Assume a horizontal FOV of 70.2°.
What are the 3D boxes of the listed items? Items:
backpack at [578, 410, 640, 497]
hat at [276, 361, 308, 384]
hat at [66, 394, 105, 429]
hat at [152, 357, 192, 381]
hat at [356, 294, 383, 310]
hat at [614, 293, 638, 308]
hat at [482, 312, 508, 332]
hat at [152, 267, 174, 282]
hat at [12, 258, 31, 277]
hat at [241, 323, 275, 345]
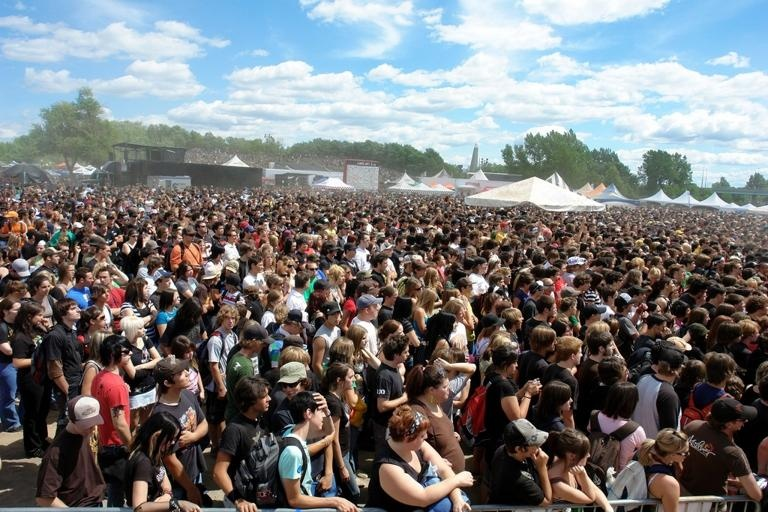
[{"bbox_3d":[2.586,2.297,6.285,0.515,0.916,0.629,21,-18,-15],"label":"backpack"},{"bbox_3d":[-1.075,1.389,6.500,0.326,0.228,0.332,1,5,-21],"label":"hat"},{"bbox_3d":[-3.124,1.644,5.743,0.270,0.188,0.379,-8,25,-40],"label":"hat"},{"bbox_3d":[-2.389,1.263,6.198,0.329,0.160,0.233,-25,23,-21],"label":"hat"},{"bbox_3d":[-0.219,0.669,8.020,0.301,0.124,0.185,-12,10,-16],"label":"hat"},{"bbox_3d":[4.090,0.783,9.256,0.372,0.175,0.231,-4,12,-17],"label":"hat"},{"bbox_3d":[1.630,0.979,8.161,0.285,0.156,0.214,-25,28,-27],"label":"hat"},{"bbox_3d":[-3.789,0.372,9.546,0.479,0.228,0.294,-6,8,-15],"label":"hat"},{"bbox_3d":[-6.224,0.251,9.474,0.358,0.195,0.241,45,28,15],"label":"hat"},{"bbox_3d":[-1.661,1.043,7.254,0.335,0.178,0.226,-2,12,-34],"label":"hat"}]
